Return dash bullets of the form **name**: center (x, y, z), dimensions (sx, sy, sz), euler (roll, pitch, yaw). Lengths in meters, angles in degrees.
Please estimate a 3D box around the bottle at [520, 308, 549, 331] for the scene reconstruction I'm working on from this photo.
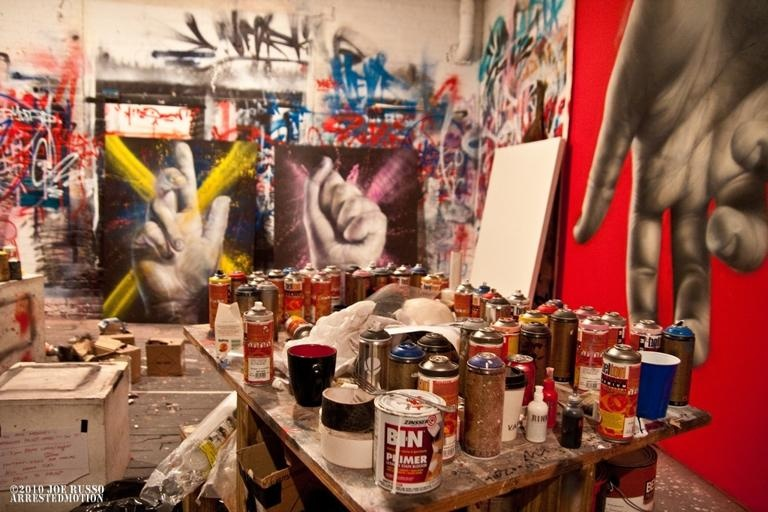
- **bottle**: center (0.895, 0.383, 3.490), dimensions (0.128, 0.115, 0.128), euler (1, -2, 37)

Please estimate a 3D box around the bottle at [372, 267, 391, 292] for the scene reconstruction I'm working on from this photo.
- **bottle**: center (-0.056, 0.170, 4.464), dimensions (0.163, 0.205, 0.157), euler (1, -3, 0)

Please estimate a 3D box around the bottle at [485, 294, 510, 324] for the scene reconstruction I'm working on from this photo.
- **bottle**: center (0.707, 0.337, 3.653), dimensions (0.159, 0.153, 0.153), euler (2, -1, -10)

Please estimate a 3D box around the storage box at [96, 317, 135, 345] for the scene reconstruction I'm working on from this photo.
- **storage box**: center (-2.784, 0.795, 6.039), dimensions (0.386, 0.351, 0.347), euler (6, 6, -22)

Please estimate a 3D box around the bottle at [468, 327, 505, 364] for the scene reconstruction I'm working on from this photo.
- **bottle**: center (0.569, 0.479, 3.124), dimensions (0.172, 0.180, 0.172), euler (2, 1, 34)

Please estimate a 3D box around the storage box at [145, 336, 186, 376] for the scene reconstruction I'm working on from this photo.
- **storage box**: center (-2.071, 0.941, 5.577), dimensions (0.366, 0.330, 0.345), euler (0, 3, -15)

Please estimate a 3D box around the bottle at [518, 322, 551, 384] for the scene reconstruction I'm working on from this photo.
- **bottle**: center (0.874, 0.584, 3.455), dimensions (0.241, 0.315, 0.243), euler (0, -1, 0)

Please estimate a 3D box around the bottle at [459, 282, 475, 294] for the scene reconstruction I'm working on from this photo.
- **bottle**: center (0.570, 0.228, 4.095), dimensions (0.084, 0.050, 0.082), euler (3, -6, 0)

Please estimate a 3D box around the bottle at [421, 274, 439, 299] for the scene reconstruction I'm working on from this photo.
- **bottle**: center (0.351, 0.233, 4.397), dimensions (0.140, 0.194, 0.141), euler (-1, -8, 0)

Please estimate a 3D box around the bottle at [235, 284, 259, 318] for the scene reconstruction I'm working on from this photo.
- **bottle**: center (-0.861, 0.282, 3.798), dimensions (0.182, 0.265, 0.173), euler (4, -2, 0)

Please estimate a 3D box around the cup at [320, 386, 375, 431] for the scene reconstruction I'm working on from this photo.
- **cup**: center (-0.177, 0.746, 2.885), dimensions (0.216, 0.118, 0.213), euler (3, -5, 0)

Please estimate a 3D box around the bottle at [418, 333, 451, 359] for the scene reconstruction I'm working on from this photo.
- **bottle**: center (0.266, 0.478, 3.191), dimensions (0.141, 0.125, 0.138), euler (-3, 8, -41)

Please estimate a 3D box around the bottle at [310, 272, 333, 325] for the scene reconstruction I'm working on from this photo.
- **bottle**: center (-0.422, 0.291, 4.203), dimensions (0.133, 0.337, 0.200), euler (10, 10, 37)

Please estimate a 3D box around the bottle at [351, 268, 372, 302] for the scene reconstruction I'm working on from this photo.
- **bottle**: center (-0.181, 0.237, 4.481), dimensions (0.156, 0.256, 0.183), euler (2, 8, -8)

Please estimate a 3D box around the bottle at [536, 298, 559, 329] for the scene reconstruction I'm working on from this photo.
- **bottle**: center (1.040, 0.348, 3.681), dimensions (0.151, 0.148, 0.145), euler (0, 3, -22)

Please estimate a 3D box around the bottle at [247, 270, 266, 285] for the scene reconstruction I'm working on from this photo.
- **bottle**: center (-0.888, 0.158, 4.105), dimensions (0.127, 0.087, 0.128), euler (3, -3, 0)

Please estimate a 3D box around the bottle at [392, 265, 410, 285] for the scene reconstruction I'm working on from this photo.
- **bottle**: center (0.150, 0.150, 4.555), dimensions (0.139, 0.148, 0.137), euler (-5, 8, -40)

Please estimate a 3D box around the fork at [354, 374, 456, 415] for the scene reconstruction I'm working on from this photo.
- **fork**: center (0.117, 0.688, 2.872), dimensions (0.661, 0.083, 0.076), euler (9, 27, 27)

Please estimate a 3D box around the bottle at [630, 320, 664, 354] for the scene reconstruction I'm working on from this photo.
- **bottle**: center (1.515, 0.467, 3.383), dimensions (0.178, 0.179, 0.171), euler (-1, 2, -22)
